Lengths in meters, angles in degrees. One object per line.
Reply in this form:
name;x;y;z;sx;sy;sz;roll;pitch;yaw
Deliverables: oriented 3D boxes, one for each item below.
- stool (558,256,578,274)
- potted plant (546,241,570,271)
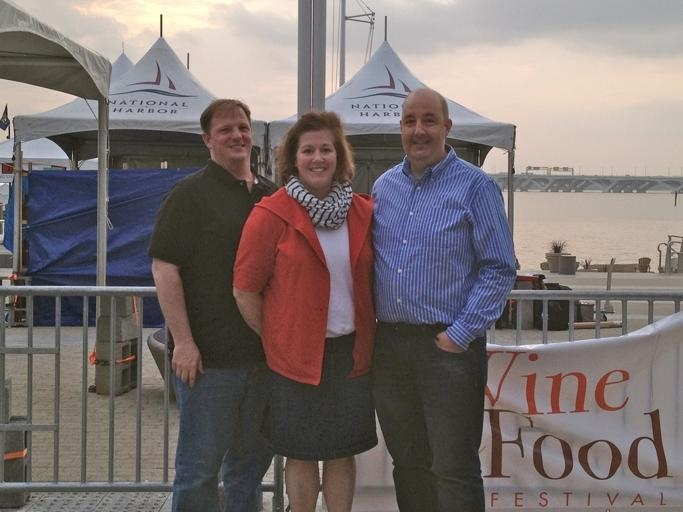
stool;5.138;0.219;33.546;0.337;0.447;0.486;-1;3;4
potted plant;5.431;0.023;36.921;0.534;0.620;0.499;12;-2;-16
